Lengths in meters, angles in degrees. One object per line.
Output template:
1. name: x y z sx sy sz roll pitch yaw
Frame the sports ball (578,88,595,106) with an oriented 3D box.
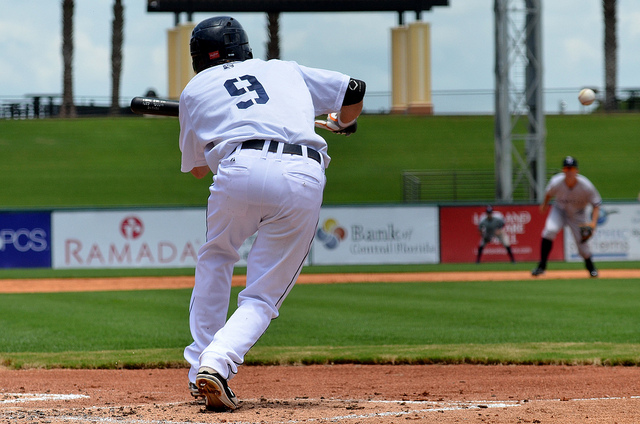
1. sports ball: 8.546 -3.689 48.520 0.534 0.534 0.469 -5 6 -6
